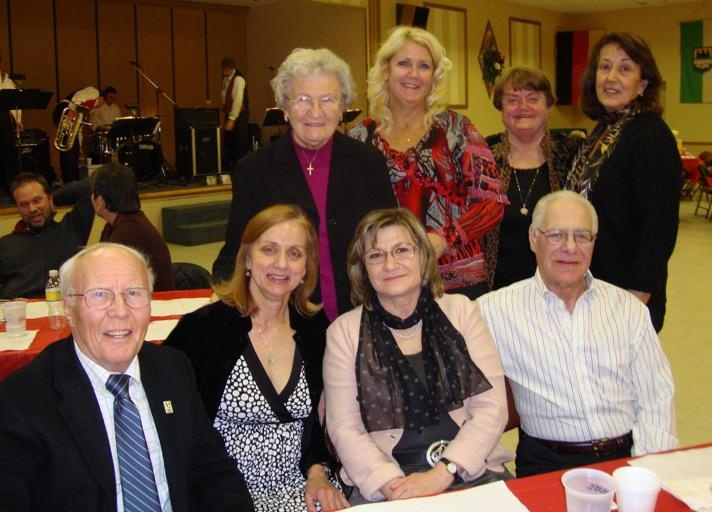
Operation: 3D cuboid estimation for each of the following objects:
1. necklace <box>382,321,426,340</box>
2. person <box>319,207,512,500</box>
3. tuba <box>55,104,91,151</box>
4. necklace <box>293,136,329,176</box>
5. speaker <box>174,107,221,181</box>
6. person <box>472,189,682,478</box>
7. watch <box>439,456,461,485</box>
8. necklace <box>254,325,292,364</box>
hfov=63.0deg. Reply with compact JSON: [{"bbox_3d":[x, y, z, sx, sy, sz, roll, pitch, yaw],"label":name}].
[{"bbox_3d":[0.209,0.318,2.441,0.094,0.025,0.099,-15,18,-6],"label":"necklace"},{"bbox_3d":[0.249,0.480,2.588,0.699,1.201,0.498,-7,-17,-1],"label":"person"},{"bbox_3d":[-4.945,-2.245,10.015,0.707,0.797,0.314,12,-7,25],"label":"tuba"},{"bbox_3d":[-0.213,-0.456,2.709,0.118,0.169,0.044,-1,40,0],"label":"necklace"},{"bbox_3d":[-3.101,-2.199,11.381,0.789,1.334,0.794,9,18,37],"label":"speaker"},{"bbox_3d":[0.774,0.245,2.852,1.024,1.504,1.093,-6,10,1],"label":"person"},{"bbox_3d":[0.346,0.791,2.160,0.088,0.088,0.053,35,-19,-35],"label":"watch"},{"bbox_3d":[-0.345,0.361,2.433,0.153,0.165,0.042,-7,-9,-25],"label":"necklace"}]
